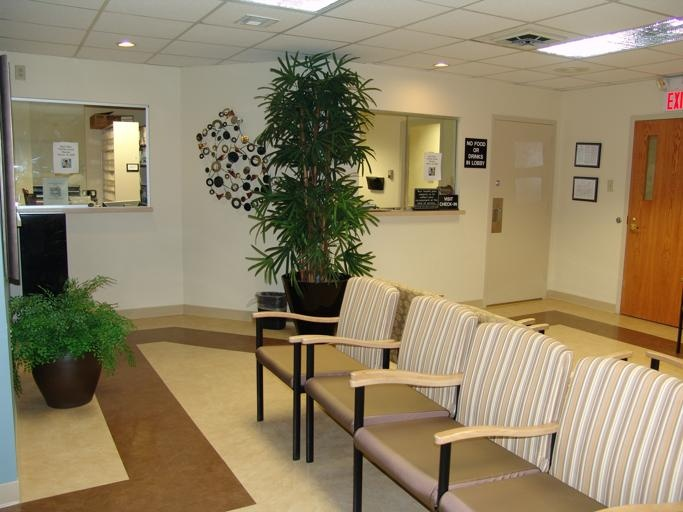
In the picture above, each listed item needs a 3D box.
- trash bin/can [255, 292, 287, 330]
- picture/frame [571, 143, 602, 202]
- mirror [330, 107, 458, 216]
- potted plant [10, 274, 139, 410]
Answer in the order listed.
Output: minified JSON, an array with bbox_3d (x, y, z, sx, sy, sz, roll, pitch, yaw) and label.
[{"bbox_3d":[-0.747,0.608,5.270,0.465,0.462,0.278,0,-2,21],"label":"trash bin/can"},{"bbox_3d":[3.632,-1.257,7.209,0.103,0.874,0.438,-4,13,-25],"label":"picture/frame"},{"bbox_3d":[0.609,-1.190,6.018,1.608,1.643,0.067,-1,8,-26],"label":"mirror"},{"bbox_3d":[-2.188,0.702,3.933,0.966,0.958,0.945,0,4,-41],"label":"potted plant"}]
